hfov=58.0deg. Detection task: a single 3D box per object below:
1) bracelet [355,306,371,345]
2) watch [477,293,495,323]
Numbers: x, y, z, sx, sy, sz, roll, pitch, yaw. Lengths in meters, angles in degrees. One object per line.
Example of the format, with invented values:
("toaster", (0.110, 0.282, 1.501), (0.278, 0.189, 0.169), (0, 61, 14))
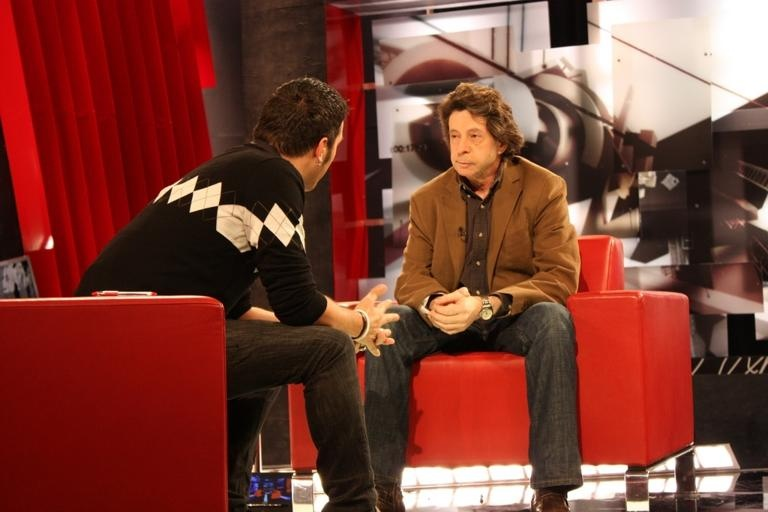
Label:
("bracelet", (-0.067, 0.237, 2.354), (0.033, 0.094, 0.084), (-1, 27, 8))
("watch", (0.393, 0.204, 2.686), (0.056, 0.094, 0.089), (-2, 27, -1))
